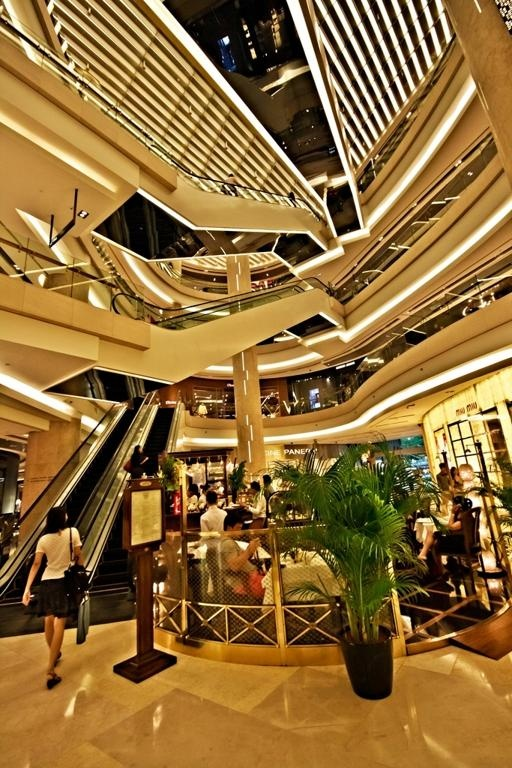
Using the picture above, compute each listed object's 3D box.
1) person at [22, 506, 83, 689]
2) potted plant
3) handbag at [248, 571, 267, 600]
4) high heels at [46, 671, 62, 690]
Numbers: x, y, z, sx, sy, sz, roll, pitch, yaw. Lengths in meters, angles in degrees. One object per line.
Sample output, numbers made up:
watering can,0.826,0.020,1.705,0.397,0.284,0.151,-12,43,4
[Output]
person,-1.574,1.619,3.429,0.401,1.237,0.632,1,-15,-24
potted plant,0.618,1.260,2.870,0.916,1.332,0.845,-9,-29,6
handbag,0.009,1.635,3.517,0.148,0.186,0.052,-7,-5,15
high heels,-1.433,2.129,3.138,0.102,0.086,0.114,4,-16,-32
